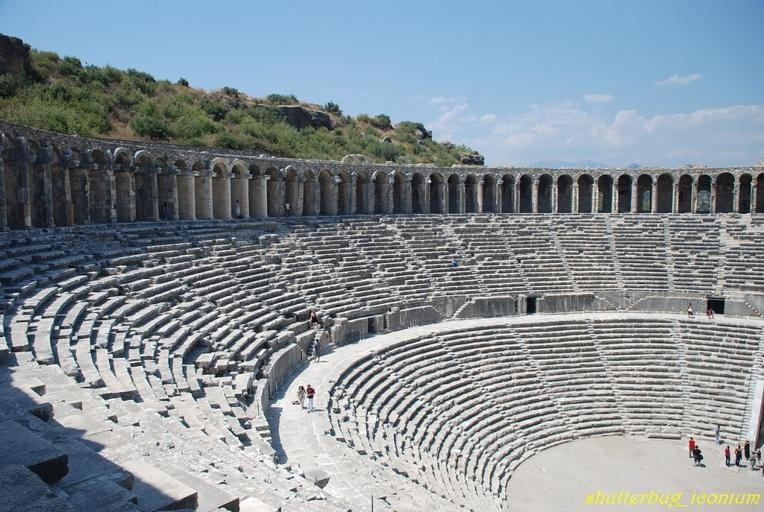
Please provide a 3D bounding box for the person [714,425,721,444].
[{"bbox_3d":[15.576,8.249,33.770,0.234,0.659,1.058,0,8,24],"label":"person"}]

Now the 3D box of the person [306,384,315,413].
[{"bbox_3d":[-2.813,5.439,28.323,0.272,0.926,0.779,-4,8,-7],"label":"person"}]

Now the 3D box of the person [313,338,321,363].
[{"bbox_3d":[-2.969,4.250,33.037,0.372,0.870,1.238,-4,7,-5],"label":"person"}]

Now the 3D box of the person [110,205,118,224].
[{"bbox_3d":[-13.384,-2.098,36.233,0.267,0.859,0.864,-6,8,-19],"label":"person"}]

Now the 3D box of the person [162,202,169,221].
[{"bbox_3d":[-11.799,-2.481,39.561,0.334,0.944,1.080,-6,8,-18],"label":"person"}]

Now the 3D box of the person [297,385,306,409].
[{"bbox_3d":[-3.155,5.428,28.593,0.332,0.833,0.702,-4,8,-7],"label":"person"}]

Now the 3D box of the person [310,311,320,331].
[{"bbox_3d":[-3.178,3.030,34.312,0.482,0.860,0.777,-2,8,9],"label":"person"}]
